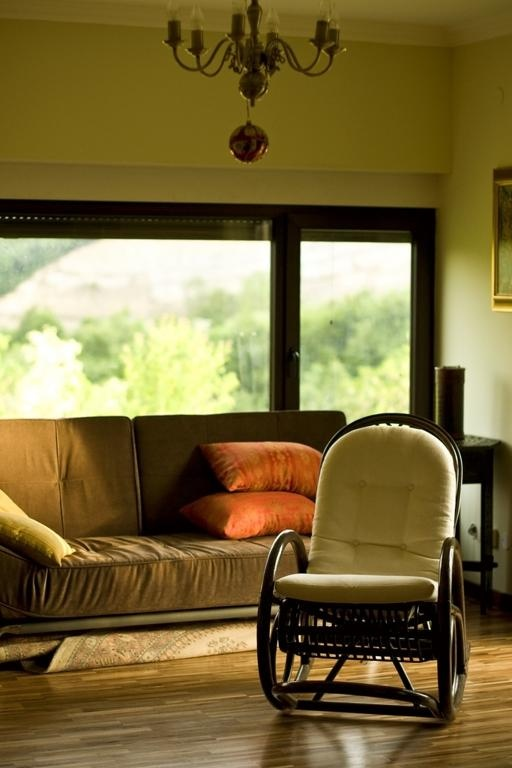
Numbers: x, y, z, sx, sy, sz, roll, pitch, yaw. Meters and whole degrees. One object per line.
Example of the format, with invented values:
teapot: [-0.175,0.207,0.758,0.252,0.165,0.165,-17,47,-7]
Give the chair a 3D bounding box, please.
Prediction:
chair: [0.371,0.541,2.176,0.602,1.003,0.969,0,-8,19]
